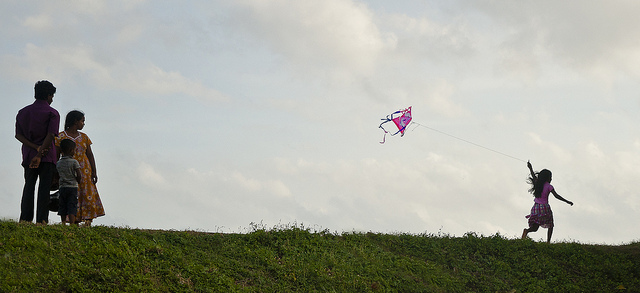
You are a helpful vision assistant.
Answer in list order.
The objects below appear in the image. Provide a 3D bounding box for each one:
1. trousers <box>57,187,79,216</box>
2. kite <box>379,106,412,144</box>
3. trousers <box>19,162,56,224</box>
[{"bbox_3d":[-11.296,2.477,24.178,0.915,1.220,0.798,10,-26,-11],"label":"trousers"},{"bbox_3d":[4.026,-1.178,28.067,1.623,1.958,1.545,8,17,-21],"label":"kite"},{"bbox_3d":[-12.599,1.729,24.060,1.512,3.225,1.031,-1,19,-37],"label":"trousers"}]
